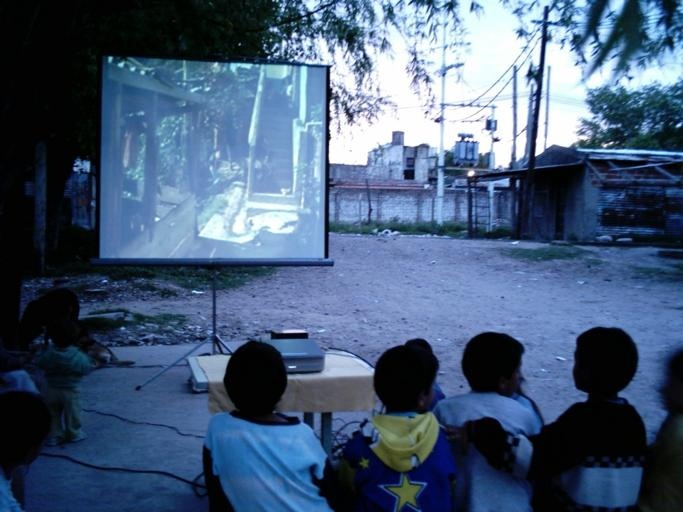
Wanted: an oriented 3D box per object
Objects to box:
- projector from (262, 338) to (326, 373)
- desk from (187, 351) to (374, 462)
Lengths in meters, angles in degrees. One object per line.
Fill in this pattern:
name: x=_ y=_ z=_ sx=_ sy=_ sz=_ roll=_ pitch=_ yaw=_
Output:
projector: x=-0.305 y=0.571 z=3.205 sx=0.470 sy=0.075 sz=0.454 roll=3 pitch=8 yaw=8
desk: x=-0.353 y=0.895 z=3.534 sx=1.080 sy=0.590 sz=1.254 roll=0 pitch=9 yaw=-19
